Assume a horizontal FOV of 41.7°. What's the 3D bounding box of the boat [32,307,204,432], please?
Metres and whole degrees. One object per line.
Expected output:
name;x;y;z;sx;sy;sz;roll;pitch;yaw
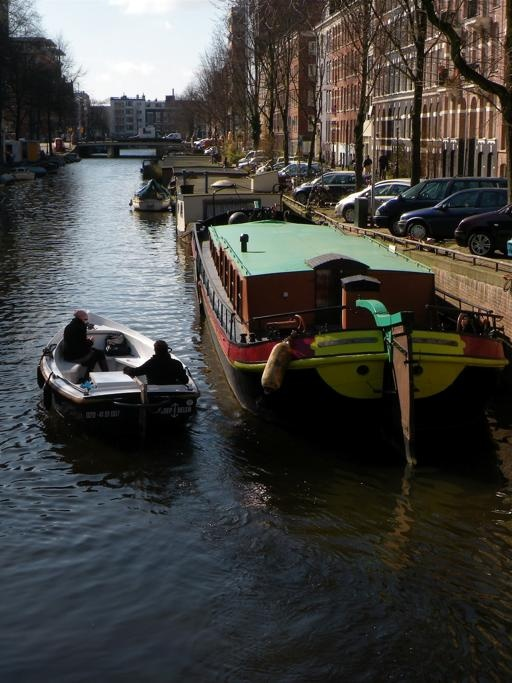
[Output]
boat;-2.725;0.672;12.110;1.777;0.991;3.674;-3;16;-21

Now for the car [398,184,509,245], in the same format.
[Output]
car;5.799;-3.800;20.225;2.734;1.188;1.332;2;11;13

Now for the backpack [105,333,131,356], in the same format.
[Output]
backpack;-2.961;0.031;14.178;0.366;0.519;0.613;-2;-4;-32

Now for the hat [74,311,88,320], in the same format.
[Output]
hat;-3.299;-0.528;12.656;0.163;0.197;0.193;3;-9;-17

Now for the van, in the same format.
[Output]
van;5.993;-5.039;22.478;4.210;1.743;2.051;3;10;15

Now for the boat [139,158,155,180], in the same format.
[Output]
boat;-13.288;-20.745;81.851;1.407;2.650;7.860;-3;9;-9
